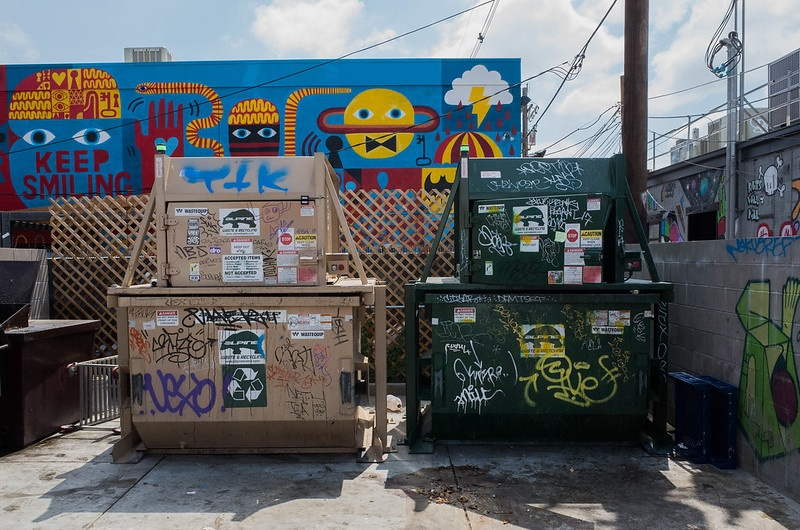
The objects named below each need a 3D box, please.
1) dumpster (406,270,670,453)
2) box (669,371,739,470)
[{"bbox_3d":[2.006,1.196,11.159,2.973,2.150,2.186,0,2,5],"label":"dumpster"},{"bbox_3d":[4.004,2.011,10.461,0.879,1.489,0.973,0,-2,-3],"label":"box"}]
